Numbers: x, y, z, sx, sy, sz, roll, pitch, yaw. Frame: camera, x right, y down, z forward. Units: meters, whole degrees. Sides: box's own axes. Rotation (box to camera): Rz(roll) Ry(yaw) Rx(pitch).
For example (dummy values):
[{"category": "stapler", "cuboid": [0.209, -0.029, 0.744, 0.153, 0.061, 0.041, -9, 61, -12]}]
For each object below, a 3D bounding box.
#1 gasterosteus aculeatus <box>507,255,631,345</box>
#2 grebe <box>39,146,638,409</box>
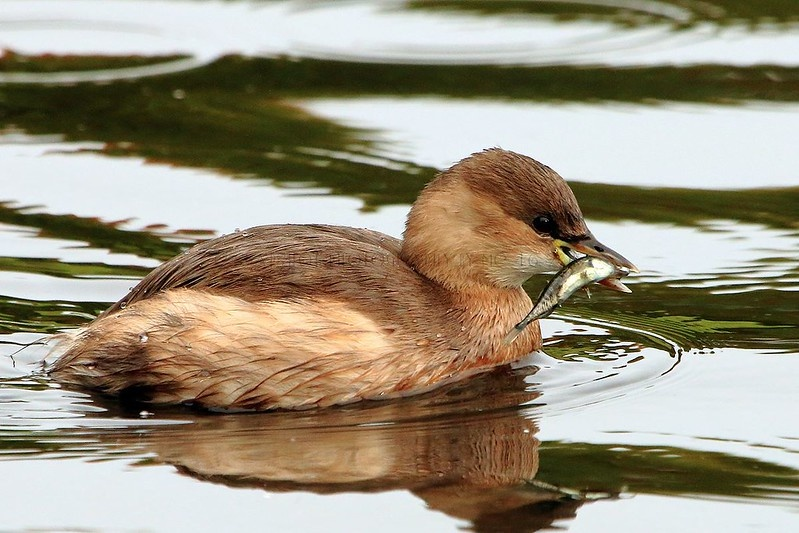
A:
[{"category": "gasterosteus aculeatus", "cuboid": [1.337, 0.195, 7.027, 1.577, 0.481, 0.384, -32, 59, -26]}, {"category": "grebe", "cuboid": [-0.448, 0.063, 6.966, 4.003, 2.090, 1.041, -1, 16, -14]}]
